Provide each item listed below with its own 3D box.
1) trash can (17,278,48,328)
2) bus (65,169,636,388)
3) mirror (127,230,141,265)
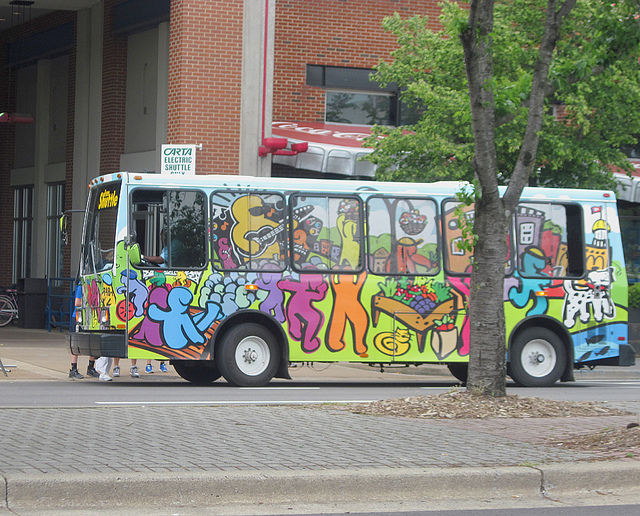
[{"bbox_3d":[-7.829,1.173,32.309,0.759,1.302,0.445,0,-1,-14],"label":"trash can"},{"bbox_3d":[0.426,0.409,20.106,9.190,3.526,1.256,0,-1,-11],"label":"bus"},{"bbox_3d":[-2.993,-0.192,19.006,0.209,0.548,0.393,0,-1,-9],"label":"mirror"}]
